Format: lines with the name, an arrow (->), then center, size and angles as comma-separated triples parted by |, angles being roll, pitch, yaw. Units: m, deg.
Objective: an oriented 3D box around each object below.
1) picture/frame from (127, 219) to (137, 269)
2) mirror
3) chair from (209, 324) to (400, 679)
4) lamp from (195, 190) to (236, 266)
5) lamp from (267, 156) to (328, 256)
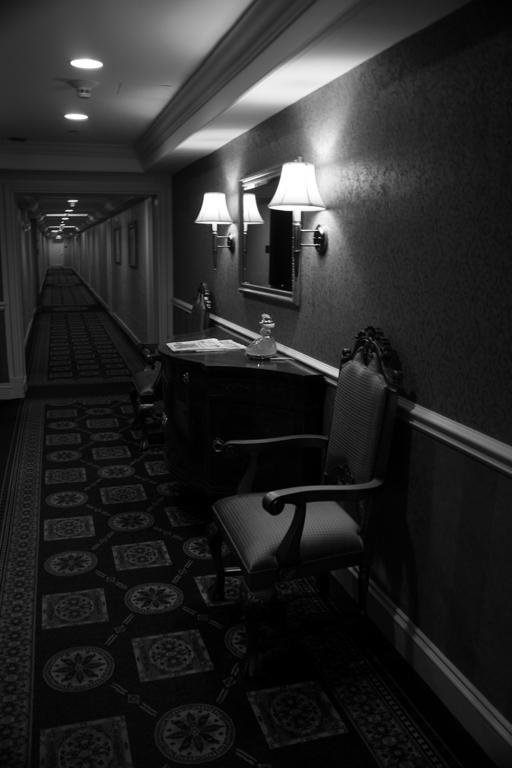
picture/frame -> -1.907, -2.194, 8.165 | 0.043, 1.103, 0.699 | 0, 11, -18
mirror -> 0.057, -0.833, 3.071 | 0.032, 0.678, 0.808 | -6, 15, -22
chair -> 0.146, 0.329, 1.705 | 0.475, 1.053, 0.543 | 2, 8, -23
lamp -> -0.262, -1.062, 3.642 | 0.220, 0.486, 0.251 | 2, 8, 11
lamp -> 0.178, -0.716, 2.231 | 0.207, 0.465, 0.230 | -2, 13, -2
